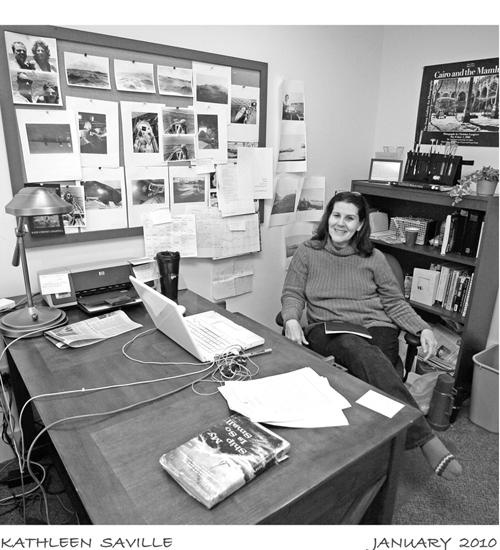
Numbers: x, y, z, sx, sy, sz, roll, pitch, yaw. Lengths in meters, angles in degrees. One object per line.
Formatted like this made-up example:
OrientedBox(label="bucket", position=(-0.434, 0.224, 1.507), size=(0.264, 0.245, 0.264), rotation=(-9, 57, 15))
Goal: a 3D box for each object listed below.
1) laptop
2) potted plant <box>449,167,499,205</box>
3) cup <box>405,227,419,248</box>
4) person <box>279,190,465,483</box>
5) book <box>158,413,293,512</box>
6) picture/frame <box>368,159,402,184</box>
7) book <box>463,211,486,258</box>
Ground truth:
OrientedBox(label="laptop", position=(-0.168, 0.193, 1.388), size=(0.321, 0.242, 0.362), rotation=(-9, 27, -38))
OrientedBox(label="potted plant", position=(1.171, -0.431, 2.045), size=(0.244, 0.129, 0.169), rotation=(-32, 39, -24))
OrientedBox(label="cup", position=(0.990, -0.237, 2.412), size=(0.095, 0.112, 0.098), rotation=(3, 6, 0))
OrientedBox(label="person", position=(0.480, 0.118, 2.022), size=(0.692, 1.065, 1.356), rotation=(-6, 22, -8))
OrientedBox(label="book", position=(-0.048, 0.387, 0.840), size=(0.253, 0.035, 0.175), rotation=(-11, 20, -44))
OrientedBox(label="picture/frame", position=(0.879, -0.676, 2.529), size=(0.186, 0.153, 0.020), rotation=(18, 14, 42))
OrientedBox(label="book", position=(1.205, -0.213, 2.094), size=(0.059, 0.246, 0.135), rotation=(2, 13, -1))
